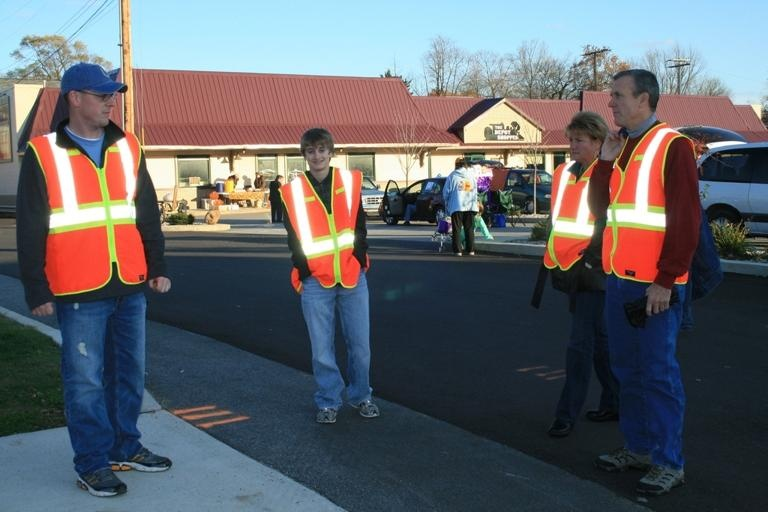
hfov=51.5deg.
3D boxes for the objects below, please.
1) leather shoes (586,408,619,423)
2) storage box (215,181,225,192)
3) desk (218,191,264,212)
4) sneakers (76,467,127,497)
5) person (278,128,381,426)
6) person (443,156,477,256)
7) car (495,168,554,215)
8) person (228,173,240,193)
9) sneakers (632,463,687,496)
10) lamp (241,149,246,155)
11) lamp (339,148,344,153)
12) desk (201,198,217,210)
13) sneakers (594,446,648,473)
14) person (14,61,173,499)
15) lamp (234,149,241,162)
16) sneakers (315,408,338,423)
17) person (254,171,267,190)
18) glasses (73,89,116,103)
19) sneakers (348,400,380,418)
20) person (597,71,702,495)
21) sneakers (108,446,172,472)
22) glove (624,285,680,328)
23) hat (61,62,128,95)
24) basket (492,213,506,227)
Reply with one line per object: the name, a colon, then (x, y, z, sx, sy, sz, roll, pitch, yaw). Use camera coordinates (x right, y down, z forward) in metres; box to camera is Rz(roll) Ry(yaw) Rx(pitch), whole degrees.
leather shoes: (1.929, 1.422, 7.062, 0.290, 0.129, 0.110, 2, 1, 5)
storage box: (-7.993, -3.393, 38.929, 0.471, 0.565, 0.493, 0, 1, -10)
desk: (-6.822, -2.794, 39.655, 2.171, 1.015, 2.545, 2, 10, 7)
sneakers: (-2.012, 1.634, 5.698, 0.350, 0.175, 0.163, 3, 3, 30)
person: (-0.464, 0.162, 7.019, 0.809, 2.515, 0.538, -1, 8, -9)
person: (1.693, -1.074, 17.629, 0.749, 2.173, 1.049, 1, 9, 6)
car: (4.997, -2.301, 28.610, 1.409, 1.277, 2.384, -3, 4, -37)
person: (-7.508, -3.542, 39.046, 0.507, 0.818, 1.050, 0, 10, 1)
sneakers: (2.031, 1.670, 5.890, 0.350, 0.174, 0.171, -5, 0, -29)
lamp: (-7.240, -5.322, 41.018, 0.356, 0.204, 0.256, 0, -5, 0)
lamp: (-2.318, -5.645, 42.775, 0.301, 0.181, 0.218, -1, 10, 2)
desk: (-8.531, -2.499, 38.810, 0.378, 0.640, 2.911, -3, 11, -21)
sneakers: (1.853, 1.591, 6.253, 0.365, 0.186, 0.172, 3, 3, 0)
person: (-2.082, 0.344, 5.821, 1.023, 2.624, 0.622, -4, 9, -27)
lamp: (-7.509, -5.180, 40.878, 0.234, 0.549, 0.531, 8, 12, 41)
sneakers: (-0.491, 1.389, 6.980, 0.221, 0.114, 0.162, -4, 11, -21)
person: (-6.346, -3.839, 40.711, 0.558, 0.848, 1.948, -1, 10, -8)
glasses: (-2.100, -1.142, 5.771, 0.289, 0.089, 0.137, -5, 11, -24)
sneakers: (-0.164, 1.370, 7.149, 0.111, 0.119, 0.279, -3, 2, -38)
person: (1.921, 0.154, 6.045, 0.514, 3.086, 0.860, -5, 10, -31)
sneakers: (-1.832, 1.552, 6.040, 0.442, 0.209, 0.175, 0, 0, -7)
glove: (1.960, 0.384, 5.885, 0.295, 0.320, 0.096, -12, 29, 10)
hat: (-2.135, -1.303, 5.854, 0.463, 0.240, 0.364, 3, 10, 13)
basket: (3.443, -1.003, 23.595, 0.363, 0.467, 0.455, 1, -1, -25)
